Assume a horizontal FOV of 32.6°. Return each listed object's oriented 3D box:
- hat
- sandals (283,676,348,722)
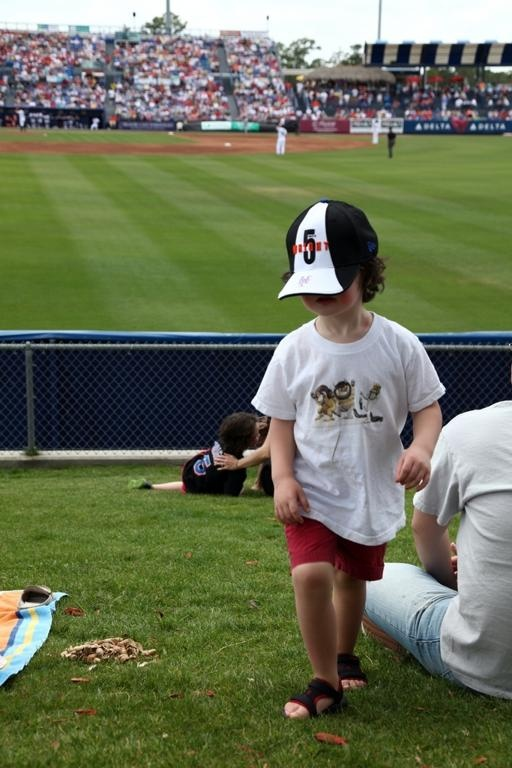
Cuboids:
[{"bbox_3d":[0.212,-0.392,2.512,0.257,0.275,0.239,1,8,6],"label":"hat"},{"bbox_3d":[0.171,0.891,2.473,0.194,0.072,0.074,7,-13,-31],"label":"sandals"}]
